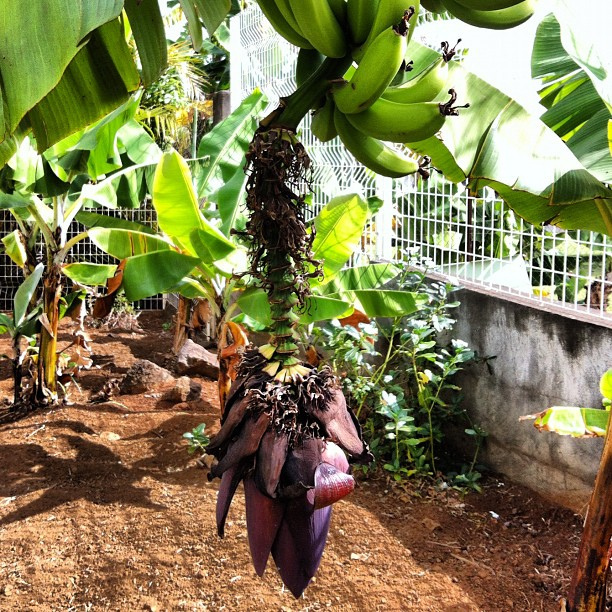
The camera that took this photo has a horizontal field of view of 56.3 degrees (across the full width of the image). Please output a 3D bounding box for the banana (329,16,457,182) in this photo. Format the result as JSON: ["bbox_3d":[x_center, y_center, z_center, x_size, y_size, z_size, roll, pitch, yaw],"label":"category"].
[{"bbox_3d":[0.158,-0.351,0.971,0.240,0.235,0.150,1,27,33],"label":"banana"}]

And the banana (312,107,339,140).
[{"bbox_3d":[0.038,-0.331,1.038,0.052,0.034,0.089,-2,46,5],"label":"banana"}]

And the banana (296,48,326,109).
[{"bbox_3d":[0.004,-0.428,1.001,0.044,0.069,0.017,17,26,17],"label":"banana"}]

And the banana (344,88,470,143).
[{"bbox_3d":[0.142,-0.312,0.902,0.203,0.079,0.050,9,19,12],"label":"banana"}]

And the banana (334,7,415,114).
[{"bbox_3d":[0.098,-0.374,0.854,0.132,0.142,0.050,8,12,36],"label":"banana"}]
